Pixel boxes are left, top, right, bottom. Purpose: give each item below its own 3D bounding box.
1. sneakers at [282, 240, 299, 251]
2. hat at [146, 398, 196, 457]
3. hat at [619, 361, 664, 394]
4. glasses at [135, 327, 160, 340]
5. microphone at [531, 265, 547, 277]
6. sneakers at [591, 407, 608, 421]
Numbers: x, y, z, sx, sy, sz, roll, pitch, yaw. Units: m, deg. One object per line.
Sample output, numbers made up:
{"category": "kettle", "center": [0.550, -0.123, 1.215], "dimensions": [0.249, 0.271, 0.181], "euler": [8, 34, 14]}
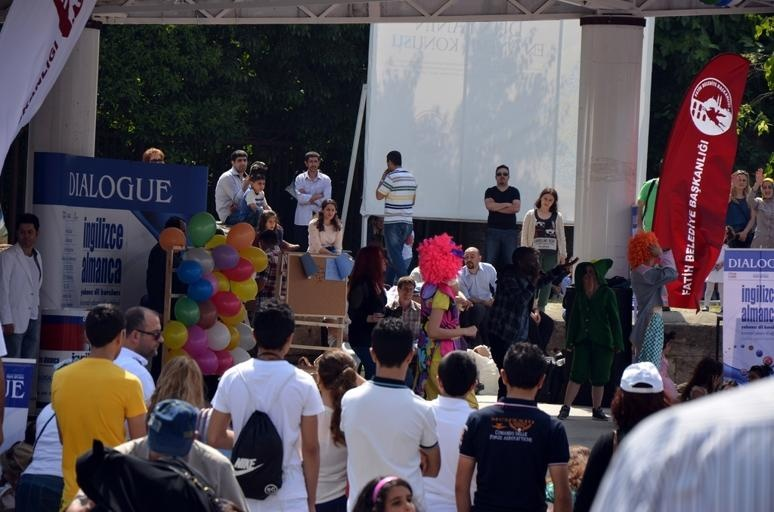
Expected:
{"category": "sneakers", "center": [-1.576, -0.177, 20.194], "dimensions": [0.142, 0.210, 0.429], "euler": [-8, 2, -35]}
{"category": "hat", "center": [-2.035, 1.611, 11.984], "dimensions": [0.344, 0.326, 0.534], "euler": [14, 29, -4]}
{"category": "hat", "center": [2.614, 1.242, 13.087], "dimensions": [0.429, 0.313, 0.292], "euler": [2, -4, 10]}
{"category": "glasses", "center": [-2.565, 0.844, 13.831], "dimensions": [0.110, 0.108, 0.327], "euler": [0, -5, 40]}
{"category": "microphone", "center": [2.120, 0.190, 17.784], "dimensions": [0.078, 0.138, 0.112], "euler": [3, 4, -39]}
{"category": "sneakers", "center": [2.942, 2.167, 17.530], "dimensions": [0.100, 0.157, 0.300], "euler": [2, 2, 35]}
